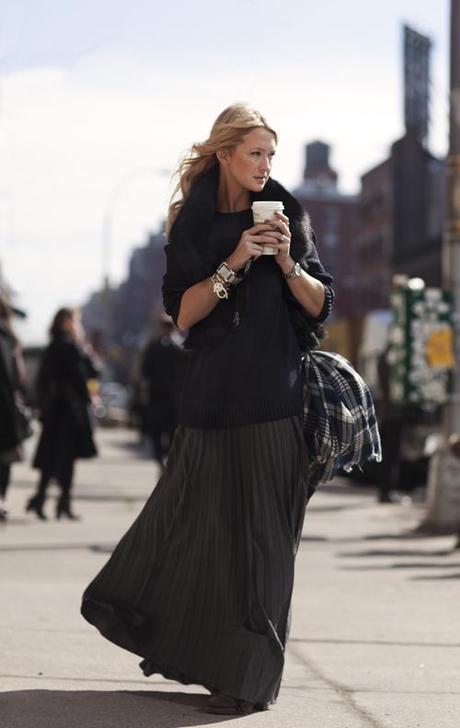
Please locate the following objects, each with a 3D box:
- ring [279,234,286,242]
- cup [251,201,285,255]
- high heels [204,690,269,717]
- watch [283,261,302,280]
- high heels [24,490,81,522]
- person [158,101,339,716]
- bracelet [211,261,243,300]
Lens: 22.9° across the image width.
[{"bbox_3d":[0.175,-0.409,3.660,0.017,0.021,0.007,-3,-18,-11],"label":"ring"},{"bbox_3d":[0.103,-0.446,3.659,0.155,0.200,0.148,-1,24,0],"label":"cup"},{"bbox_3d":[0.026,1.094,3.618,0.195,0.059,0.106,-1,7,-1],"label":"high heels"},{"bbox_3d":[0.219,-0.312,3.785,0.056,0.051,0.051,3,-16,-45],"label":"watch"},{"bbox_3d":[-1.266,1.112,8.762,0.614,0.221,0.183,0,0,-6],"label":"high heels"},{"bbox_3d":[0.090,0.108,3.801,0.539,1.969,0.653,-2,8,-3],"label":"person"},{"bbox_3d":[-0.002,-0.273,3.697,0.069,0.102,0.085,44,4,35],"label":"bracelet"}]
